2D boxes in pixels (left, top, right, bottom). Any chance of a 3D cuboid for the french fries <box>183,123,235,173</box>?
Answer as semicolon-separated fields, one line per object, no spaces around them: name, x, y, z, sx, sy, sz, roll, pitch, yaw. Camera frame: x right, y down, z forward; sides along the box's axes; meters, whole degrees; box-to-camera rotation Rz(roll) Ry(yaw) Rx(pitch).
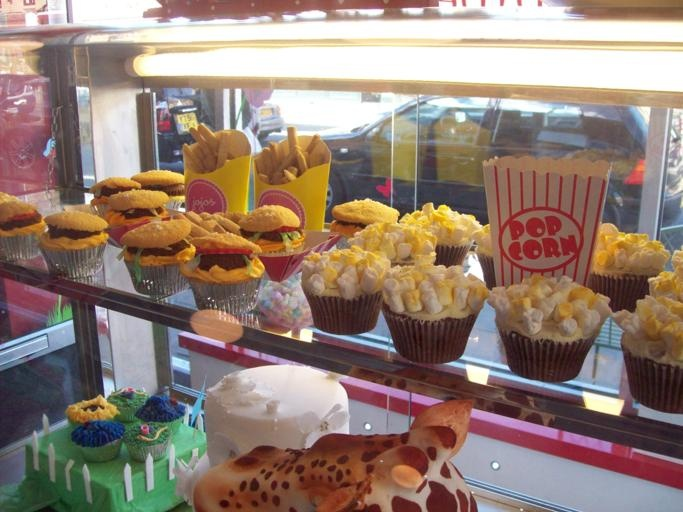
french fries;-0.442;-0.366;1.773;0.188;0.149;0.124;11;26;33
